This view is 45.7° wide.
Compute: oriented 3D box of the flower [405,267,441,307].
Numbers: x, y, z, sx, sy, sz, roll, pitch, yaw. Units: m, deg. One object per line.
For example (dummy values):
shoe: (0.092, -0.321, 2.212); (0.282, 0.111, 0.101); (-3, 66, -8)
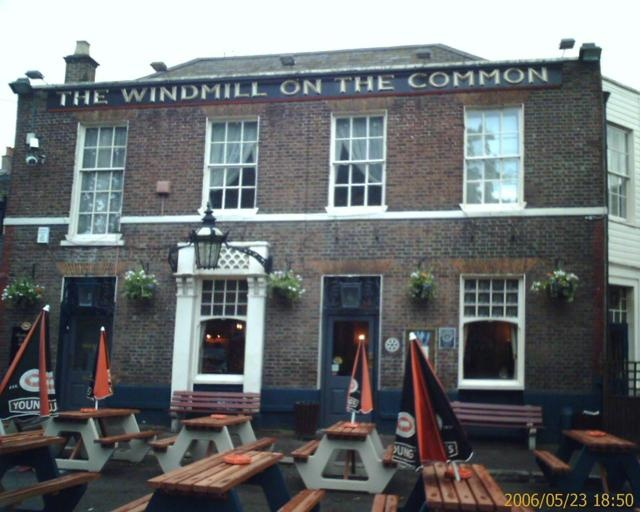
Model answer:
flower: (2.104, 0.645, 15.672); (0.705, 0.828, 0.675); (2, -11, -1)

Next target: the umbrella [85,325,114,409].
umbrella: (-3.982, 2.048, 13.700); (0.406, 1.486, 0.712); (3, -6, -17)

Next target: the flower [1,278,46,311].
flower: (-6.691, 0.811, 17.163); (0.812, 0.686, 0.732); (5, -14, -3)

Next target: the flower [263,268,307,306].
flower: (-0.735, 0.650, 16.162); (0.696, 0.511, 0.690); (3, -12, -5)

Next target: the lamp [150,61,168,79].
lamp: (-4.811, -5.589, 22.557); (0.393, 0.293, 0.685); (2, -6, -2)

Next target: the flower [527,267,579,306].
flower: (4.764, 0.624, 15.345); (0.741, 0.496, 0.717); (3, -6, -41)

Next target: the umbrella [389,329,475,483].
umbrella: (1.453, 1.916, 10.074); (0.928, 1.731, 0.361); (-2, -7, 29)
